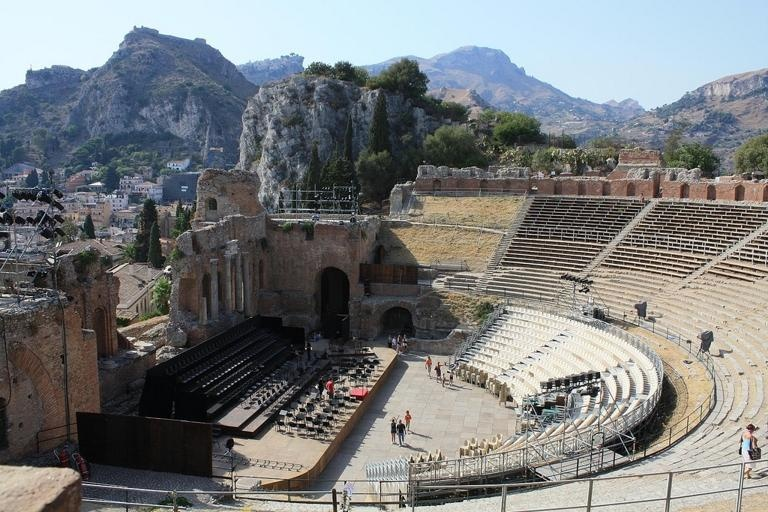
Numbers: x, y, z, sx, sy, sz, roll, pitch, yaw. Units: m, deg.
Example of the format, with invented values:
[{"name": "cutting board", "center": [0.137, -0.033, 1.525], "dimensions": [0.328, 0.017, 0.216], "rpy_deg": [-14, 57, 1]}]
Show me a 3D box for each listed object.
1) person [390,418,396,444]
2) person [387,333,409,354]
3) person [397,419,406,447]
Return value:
[{"name": "person", "center": [0.572, 9.519, 38.351], "dimensions": [0.313, 1.279, 0.580], "rpy_deg": [0, 4, 5]}, {"name": "person", "center": [1.011, 6.246, 49.986], "dimensions": [1.230, 1.084, 1.790], "rpy_deg": [-2, 4, -22]}, {"name": "person", "center": [0.945, 9.630, 38.519], "dimensions": [0.519, 1.125, 1.350], "rpy_deg": [0, 4, 4]}]
